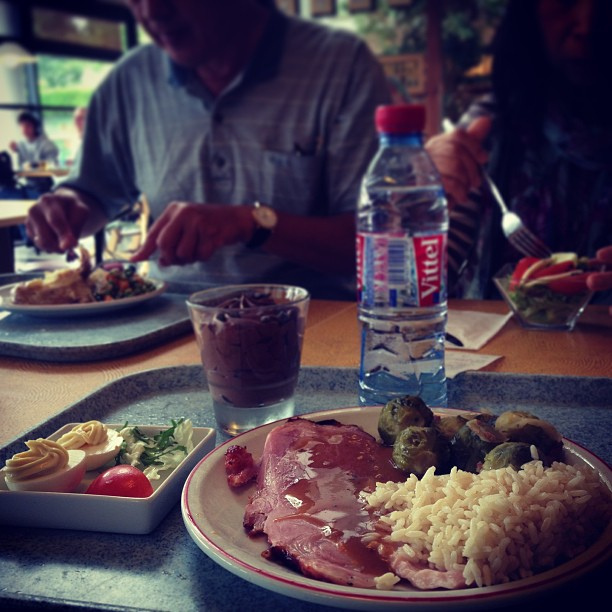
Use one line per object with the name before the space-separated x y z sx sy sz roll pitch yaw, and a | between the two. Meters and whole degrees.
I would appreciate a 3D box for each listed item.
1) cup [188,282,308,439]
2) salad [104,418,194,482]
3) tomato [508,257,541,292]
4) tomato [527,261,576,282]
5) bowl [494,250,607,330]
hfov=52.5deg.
cup | -0.066 0.074 0.995 0.252 0.228 0.228 -1 6 -1
salad | -0.212 0.198 0.909 0.116 0.059 0.112 8 10 38
tomato | 0.562 -0.085 1.623 0.026 0.082 0.102 34 47 -4
tomato | 0.629 -0.090 1.572 0.066 0.022 0.083 -13 2 -43
bowl | 0.607 -0.054 1.607 0.232 0.119 0.231 -2 8 0
